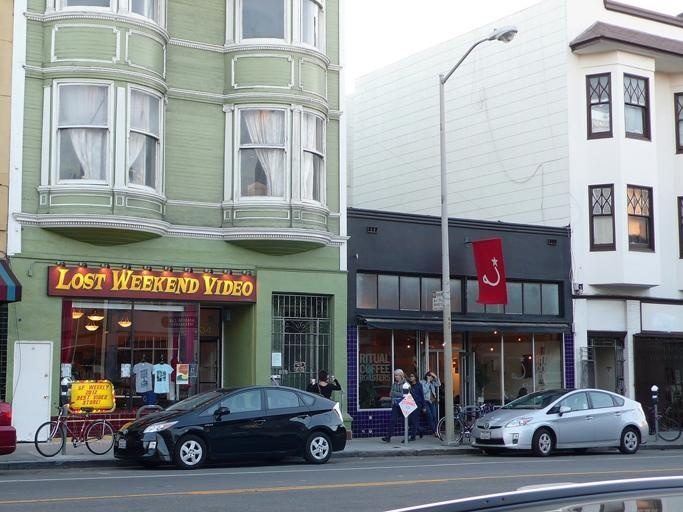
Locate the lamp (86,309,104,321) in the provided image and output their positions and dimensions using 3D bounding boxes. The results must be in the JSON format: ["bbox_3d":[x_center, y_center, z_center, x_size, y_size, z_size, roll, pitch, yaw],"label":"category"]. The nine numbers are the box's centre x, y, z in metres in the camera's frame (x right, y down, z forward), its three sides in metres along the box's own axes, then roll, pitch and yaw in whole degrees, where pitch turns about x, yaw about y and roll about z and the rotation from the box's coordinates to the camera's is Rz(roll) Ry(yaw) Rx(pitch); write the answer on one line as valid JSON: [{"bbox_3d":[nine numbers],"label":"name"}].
[{"bbox_3d":[-6.599,1.624,26.151,0.297,0.198,0.308,-2,2,-2],"label":"lamp"}]

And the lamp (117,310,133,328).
[{"bbox_3d":[-5.887,1.733,26.525,0.375,0.577,0.391,4,-9,-11],"label":"lamp"}]

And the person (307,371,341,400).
[{"bbox_3d":[-0.446,3.572,27.204,0.907,1.283,0.784,3,8,-1],"label":"person"}]

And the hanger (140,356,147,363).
[{"bbox_3d":[-5.419,2.835,26.730,0.198,0.201,0.015,4,-9,-34],"label":"hanger"}]

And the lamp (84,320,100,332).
[{"bbox_3d":[-6.682,1.898,26.098,0.262,0.376,0.252,-3,-3,42],"label":"lamp"}]

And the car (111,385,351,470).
[{"bbox_3d":[-2.392,3.993,22.977,4.407,1.588,2.182,7,-15,-27],"label":"car"}]

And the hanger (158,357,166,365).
[{"bbox_3d":[-4.955,2.916,27.060,0.223,0.221,0.016,5,-9,-38],"label":"hanger"}]

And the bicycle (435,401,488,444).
[{"bbox_3d":[3.592,5.019,28.964,1.712,1.122,0.870,0,-4,-12],"label":"bicycle"}]

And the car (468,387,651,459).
[{"bbox_3d":[6.025,4.547,26.441,4.636,1.798,1.295,2,-8,-25],"label":"car"}]
